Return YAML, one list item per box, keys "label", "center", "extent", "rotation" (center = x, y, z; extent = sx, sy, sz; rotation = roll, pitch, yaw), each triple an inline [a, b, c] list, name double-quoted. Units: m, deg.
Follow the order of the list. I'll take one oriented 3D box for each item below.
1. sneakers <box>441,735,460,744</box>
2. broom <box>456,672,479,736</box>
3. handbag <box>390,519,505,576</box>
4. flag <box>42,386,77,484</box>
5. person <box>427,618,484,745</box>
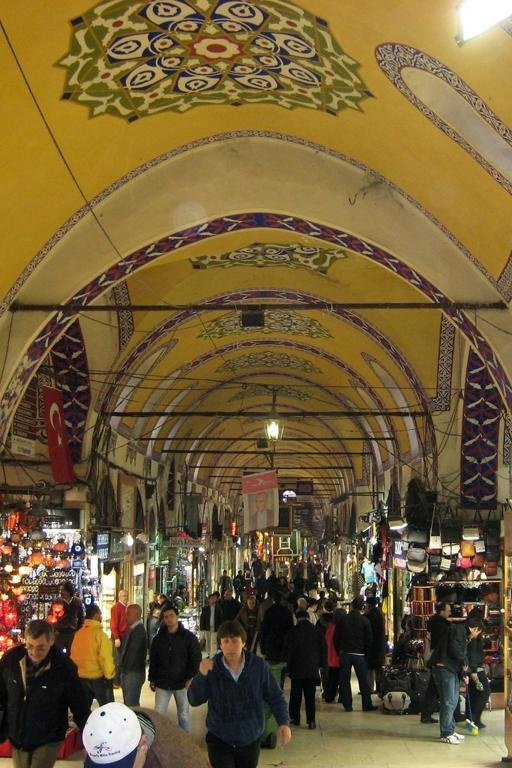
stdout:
- label: "sneakers"
  center: [1.823, 3.330, 6.978]
  extent: [0.068, 0.072, 0.177]
  rotation: [10, -18, -36]
- label: "broom"
  center: [2.205, 3.379, 7.815]
  extent: [0.173, 0.434, 0.043]
  rotation: [2, -35, -29]
- label: "handbag"
  center: [2.870, 2.385, 10.986]
  extent: [1.256, 0.457, 1.188]
  rotation: [2, -11, 1]
- label: "flag"
  center: [-2.492, 0.662, 9.350]
  extent: [0.318, 1.095, 1.076]
  rotation: [1, -15, -9]
- label: "person"
  center: [1.968, 2.884, 7.253]
  extent: [0.477, 1.090, 0.802]
  rotation: [-6, -15, 16]
